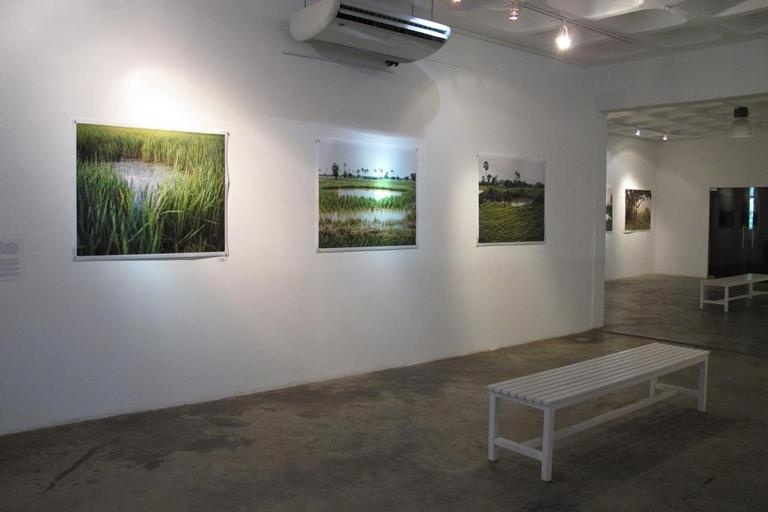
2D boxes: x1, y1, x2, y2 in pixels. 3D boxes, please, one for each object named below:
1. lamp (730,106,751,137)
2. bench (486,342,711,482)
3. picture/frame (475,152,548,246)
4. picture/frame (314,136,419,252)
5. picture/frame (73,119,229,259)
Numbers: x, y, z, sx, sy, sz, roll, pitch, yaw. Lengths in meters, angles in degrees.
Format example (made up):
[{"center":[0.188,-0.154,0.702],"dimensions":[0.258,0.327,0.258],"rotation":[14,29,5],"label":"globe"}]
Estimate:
[{"center":[7.141,-2.674,10.025],"dimensions":[0.320,0.612,0.706],"rotation":[5,9,35],"label":"lamp"},{"center":[2.015,1.379,4.683],"dimensions":[2.428,0.677,0.552],"rotation":[-4,8,-30],"label":"bench"},{"center":[1.821,-0.835,7.355],"dimensions":[1.354,1.413,0.056],"rotation":[-2,4,-32],"label":"picture/frame"},{"center":[-0.187,-0.744,6.118],"dimensions":[1.283,1.298,0.043],"rotation":[0,-4,-6],"label":"picture/frame"},{"center":[-2.362,-0.666,4.946],"dimensions":[1.392,1.299,0.105],"rotation":[-1,2,-34],"label":"picture/frame"}]
